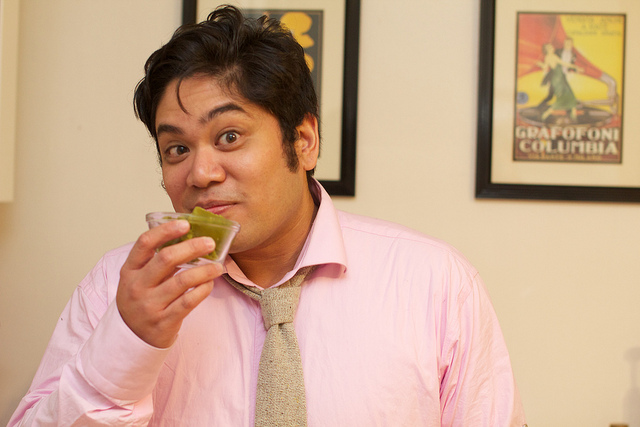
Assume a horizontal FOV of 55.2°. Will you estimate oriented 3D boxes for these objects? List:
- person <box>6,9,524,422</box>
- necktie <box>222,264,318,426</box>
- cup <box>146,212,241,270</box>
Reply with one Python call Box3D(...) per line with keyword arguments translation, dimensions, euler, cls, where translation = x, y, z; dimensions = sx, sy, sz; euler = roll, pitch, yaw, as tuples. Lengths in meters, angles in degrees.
Box3D(translation=(-0.093, -0.020, 2.078), dimensions=(1.561, 1.423, 0.916), euler=(-4, -6, 23), cls="person")
Box3D(translation=(-0.099, 0.380, 1.800), dimensions=(0.164, 0.404, 0.183), euler=(2, 0, -1), cls="necktie")
Box3D(translation=(-0.289, 0.049, 1.527), dimensions=(0.177, 0.081, 0.177), euler=(1, -13, 0), cls="cup")
